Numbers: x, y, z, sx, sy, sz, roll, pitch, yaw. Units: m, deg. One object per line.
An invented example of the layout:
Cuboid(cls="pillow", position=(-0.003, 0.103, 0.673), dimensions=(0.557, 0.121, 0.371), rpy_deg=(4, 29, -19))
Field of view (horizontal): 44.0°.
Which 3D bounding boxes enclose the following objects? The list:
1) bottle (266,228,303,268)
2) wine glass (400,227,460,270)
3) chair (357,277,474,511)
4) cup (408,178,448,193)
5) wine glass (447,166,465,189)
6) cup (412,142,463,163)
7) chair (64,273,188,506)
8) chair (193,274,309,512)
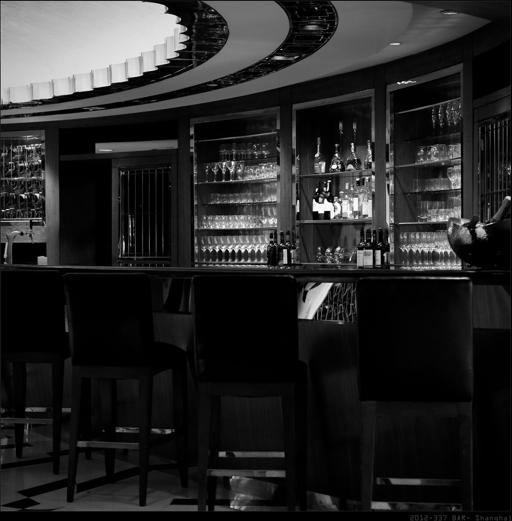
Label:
Cuboid(cls="bottle", position=(0.241, -0.100, 5.097), dimensions=(0.273, 0.522, 0.142), rpy_deg=(1, 1, 18))
Cuboid(cls="wine glass", position=(1.363, -0.119, 4.991), dimensions=(0.204, 0.250, 0.585), rpy_deg=(-2, 0, -39))
Cuboid(cls="chair", position=(0.793, 0.495, 3.152), dimensions=(0.559, 1.405, 0.758), rpy_deg=(1, 28, 20))
Cuboid(cls="cup", position=(1.392, -0.610, 5.054), dimensions=(0.048, 0.084, 0.371), rpy_deg=(-2, 0, -40))
Cuboid(cls="wine glass", position=(1.504, -0.638, 4.789), dimensions=(0.111, 0.197, 0.129), rpy_deg=(0, 5, 6))
Cuboid(cls="cup", position=(1.426, -0.844, 4.940), dimensions=(0.134, 0.113, 0.545), rpy_deg=(-2, 0, -29))
Cuboid(cls="chair", position=(-0.747, 0.673, 3.457), dimensions=(0.609, 1.175, 0.648), rpy_deg=(-1, 0, 26))
Cuboid(cls="chair", position=(-0.021, 0.656, 3.172), dimensions=(0.430, 1.164, 0.582), rpy_deg=(0, -4, -3))
